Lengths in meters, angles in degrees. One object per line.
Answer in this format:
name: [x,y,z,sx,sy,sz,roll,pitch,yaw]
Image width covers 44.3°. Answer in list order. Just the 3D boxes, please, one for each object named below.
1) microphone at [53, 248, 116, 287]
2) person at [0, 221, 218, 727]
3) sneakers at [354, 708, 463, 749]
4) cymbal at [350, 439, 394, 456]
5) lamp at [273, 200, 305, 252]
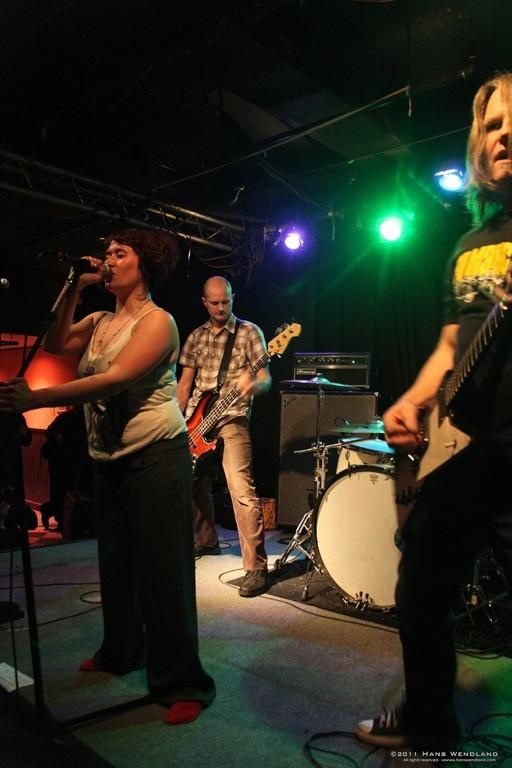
microphone: [-0.577,-0.396,2.170,0.085,0.080,0.270,17,14,10]
person: [-0.557,0.271,2.210,0.587,1.727,0.715,-2,-4,44]
sneakers: [0.430,1.006,1.902,0.354,0.131,0.139,-14,-32,33]
cymbal: [0.635,0.325,3.314,0.203,0.050,0.195,1,0,-28]
lamp: [0.335,-1.570,6.363,0.357,0.351,0.198,0,-3,11]
